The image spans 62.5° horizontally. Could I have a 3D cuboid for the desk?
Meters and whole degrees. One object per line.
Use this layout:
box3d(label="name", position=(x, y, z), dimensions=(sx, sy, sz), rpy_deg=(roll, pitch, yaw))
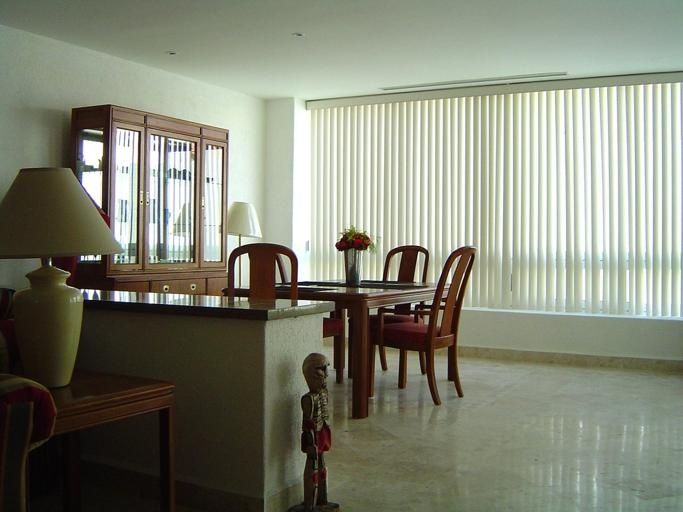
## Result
box3d(label="desk", position=(-0.368, 0.680, 4.654), dimensions=(1.148, 0.789, 1.565), rpy_deg=(3, -5, 4))

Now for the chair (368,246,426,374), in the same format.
box3d(label="chair", position=(0.588, 0.489, 5.385), dimensions=(0.594, 1.266, 0.577), rpy_deg=(2, -6, 12))

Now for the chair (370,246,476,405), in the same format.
box3d(label="chair", position=(0.586, 0.518, 4.465), dimensions=(0.752, 1.100, 0.854), rpy_deg=(1, -2, -31))

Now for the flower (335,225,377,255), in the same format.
box3d(label="flower", position=(0.150, -0.114, 4.692), dimensions=(0.348, 0.223, 0.341), rpy_deg=(2, -2, -33))
